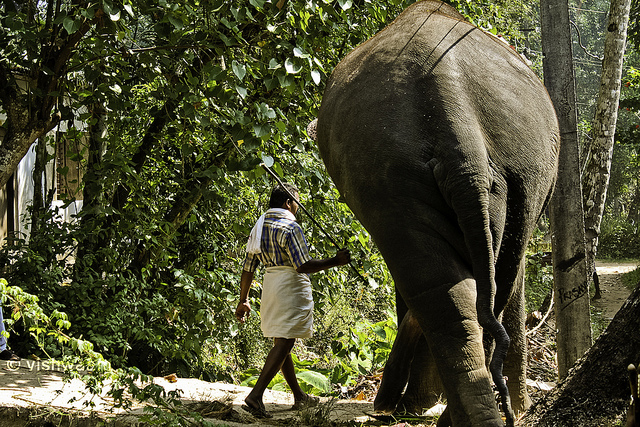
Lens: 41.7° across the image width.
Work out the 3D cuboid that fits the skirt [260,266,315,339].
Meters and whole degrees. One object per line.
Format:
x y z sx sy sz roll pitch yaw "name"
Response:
-0.306 0.847 7.962 0.505 0.671 0.247 4 -8 -2 "skirt"
